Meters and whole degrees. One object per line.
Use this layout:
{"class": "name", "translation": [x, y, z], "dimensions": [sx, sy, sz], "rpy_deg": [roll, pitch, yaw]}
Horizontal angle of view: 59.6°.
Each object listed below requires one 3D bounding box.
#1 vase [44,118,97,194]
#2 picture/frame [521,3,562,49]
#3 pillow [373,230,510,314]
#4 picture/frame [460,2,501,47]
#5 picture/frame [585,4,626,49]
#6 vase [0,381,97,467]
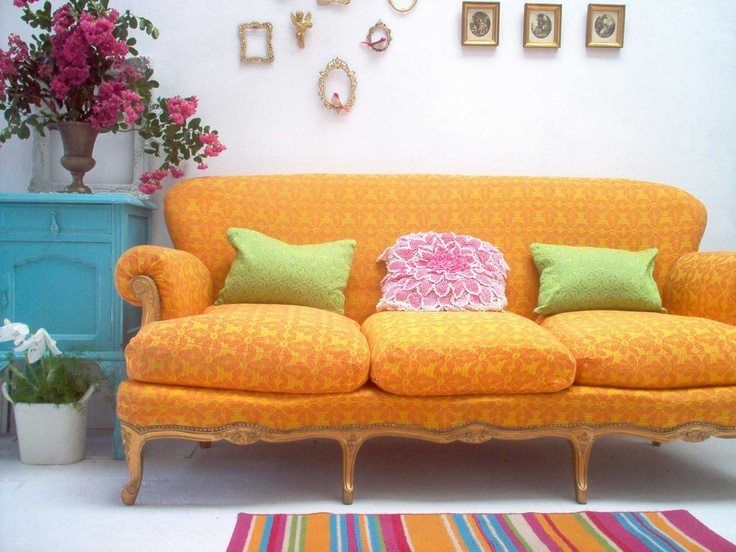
{"class": "vase", "translation": [-1.503, -0.607, 3.347], "dimensions": [0.296, 0.336, 0.275], "rpy_deg": [3, 3, 15]}
{"class": "picture/frame", "translation": [0.986, -1.397, 3.573], "dimensions": [0.249, 0.271, 0.028], "rpy_deg": [0, 4, -2]}
{"class": "pillow", "translation": [0.386, -0.013, 3.060], "dimensions": [0.475, 0.159, 0.422], "rpy_deg": [2, 54, -1]}
{"class": "picture/frame", "translation": [0.636, -1.403, 3.562], "dimensions": [0.245, 0.269, 0.027], "rpy_deg": [0, 5, -3]}
{"class": "picture/frame", "translation": [1.344, -1.401, 3.587], "dimensions": [0.238, 0.269, 0.028], "rpy_deg": [1, 2, -2]}
{"class": "vase", "translation": [-1.419, 0.656, 2.962], "dimensions": [0.407, 0.351, 0.358], "rpy_deg": [0, -7, -3]}
